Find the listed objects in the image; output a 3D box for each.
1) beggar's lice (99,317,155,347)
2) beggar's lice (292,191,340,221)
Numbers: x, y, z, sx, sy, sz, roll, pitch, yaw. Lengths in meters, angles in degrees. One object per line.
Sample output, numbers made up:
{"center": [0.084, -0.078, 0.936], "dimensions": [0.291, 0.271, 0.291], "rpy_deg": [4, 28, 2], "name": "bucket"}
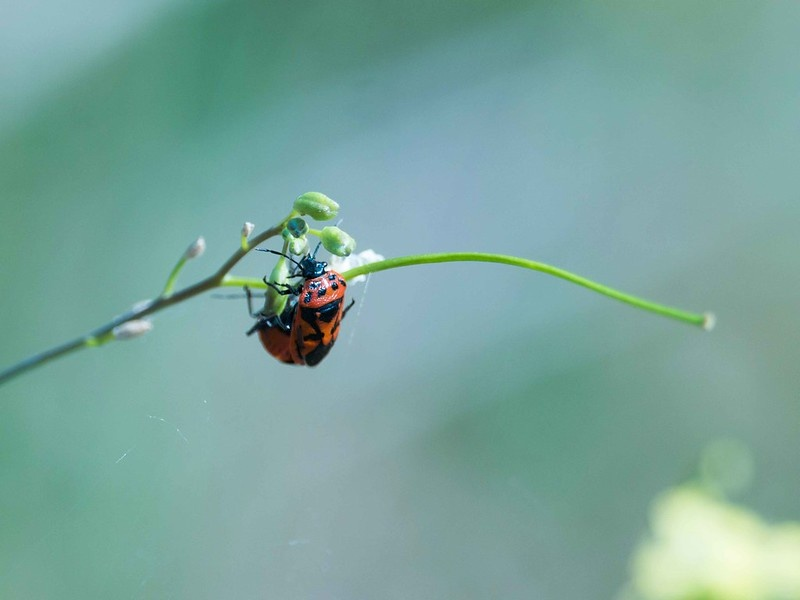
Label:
{"center": [-0.801, 0.087, 2.373], "dimensions": [0.145, 0.073, 0.100], "rpy_deg": [-5, -17, 19], "name": "beggar's lice"}
{"center": [-0.246, -0.273, 2.341], "dimensions": [0.125, 0.120, 0.124], "rpy_deg": [2, -16, -3], "name": "beggar's lice"}
